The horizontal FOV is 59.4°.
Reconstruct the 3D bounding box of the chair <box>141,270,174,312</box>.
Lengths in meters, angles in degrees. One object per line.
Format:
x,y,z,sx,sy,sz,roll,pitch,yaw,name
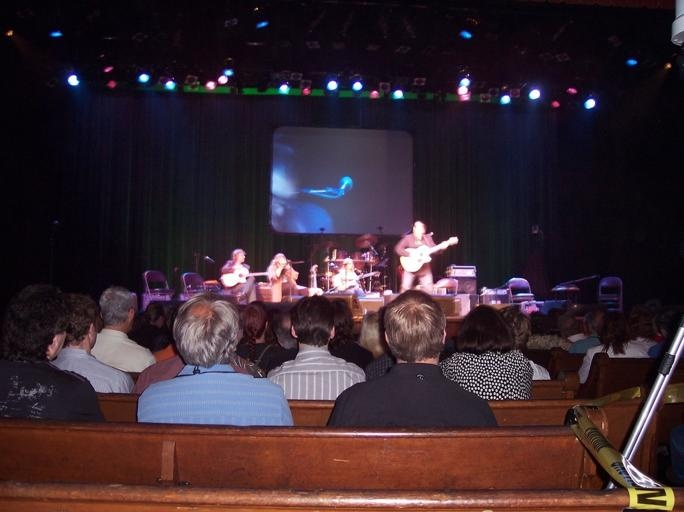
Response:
-3.306,0.649,10.672,0.457,0.712,0.531,-1,9,-19,chair

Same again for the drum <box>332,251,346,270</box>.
-0.077,0.089,10.797,0.264,0.374,0.241,5,-24,2,drum

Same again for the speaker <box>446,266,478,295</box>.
1.939,0.376,9.741,0.380,0.512,0.714,1,-5,1,speaker

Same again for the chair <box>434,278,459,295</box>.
1.668,0.497,9.584,0.272,0.271,0.282,-1,-4,23,chair

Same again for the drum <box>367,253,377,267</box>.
0.501,0.064,10.792,0.190,0.202,0.193,1,-7,-3,drum

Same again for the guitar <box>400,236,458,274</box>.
1.351,-0.019,10.045,1.122,0.457,0.133,-25,0,-11,guitar

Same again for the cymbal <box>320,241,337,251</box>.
-0.263,-0.141,10.817,0.211,0.153,0.203,3,8,5,cymbal

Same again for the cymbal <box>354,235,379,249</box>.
0.391,-0.252,10.431,0.357,0.239,0.431,2,5,1,cymbal

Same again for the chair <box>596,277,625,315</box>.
4.656,0.645,10.479,0.412,0.727,0.475,-4,19,20,chair

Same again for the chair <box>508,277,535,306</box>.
3.175,0.616,10.705,0.491,0.647,0.567,0,-1,12,chair
